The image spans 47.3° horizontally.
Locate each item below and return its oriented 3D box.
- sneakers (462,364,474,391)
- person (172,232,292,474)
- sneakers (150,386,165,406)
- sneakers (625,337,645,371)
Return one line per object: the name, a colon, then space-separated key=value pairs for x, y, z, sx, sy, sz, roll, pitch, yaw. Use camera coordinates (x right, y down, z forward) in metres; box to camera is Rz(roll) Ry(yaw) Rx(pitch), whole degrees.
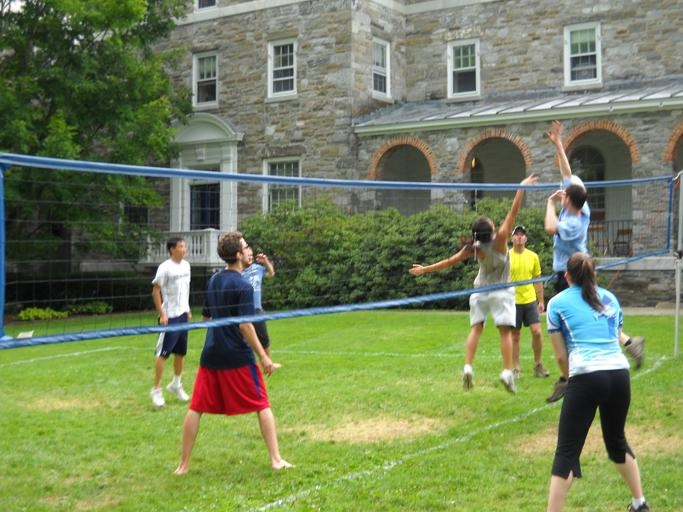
sneakers: x=1.581 y=1.557 z=9.855 sx=0.119 sy=0.364 sz=0.154 roll=1 pitch=14 yaw=8
person: x=-1.166 y=0.989 z=8.129 sx=1.126 sy=2.438 sz=0.626 roll=-3 pitch=6 yaw=-7
sneakers: x=-2.444 y=1.835 z=10.309 sx=0.183 sy=0.259 sz=0.285 roll=-4 pitch=6 yaw=-15
sneakers: x=2.826 y=0.906 z=7.548 sx=0.195 sy=0.455 sz=0.153 roll=-4 pitch=14 yaw=16
